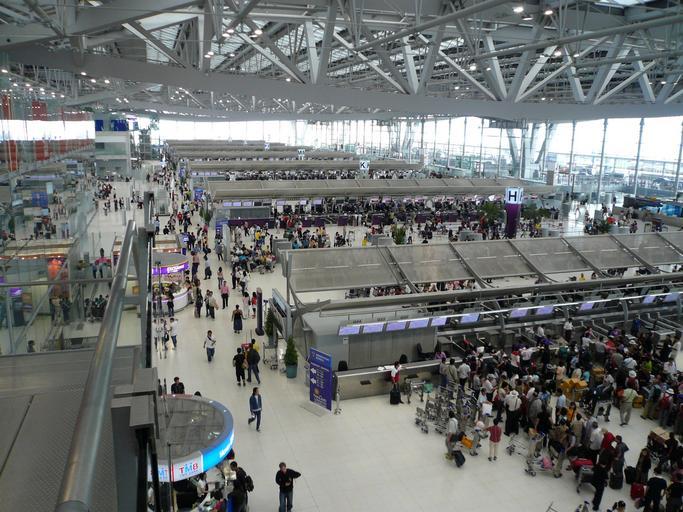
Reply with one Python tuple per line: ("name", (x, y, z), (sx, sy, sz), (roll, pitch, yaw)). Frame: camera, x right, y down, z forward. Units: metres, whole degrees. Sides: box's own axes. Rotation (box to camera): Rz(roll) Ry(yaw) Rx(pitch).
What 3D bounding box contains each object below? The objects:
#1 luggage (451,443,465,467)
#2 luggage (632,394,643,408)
("luggage", (2.666, 4.647, 11.865), (0.291, 0.489, 0.140), (-7, -22, -38))
("luggage", (8.454, 4.099, 14.408), (0.302, 0.491, 0.472), (-1, -8, 32))
